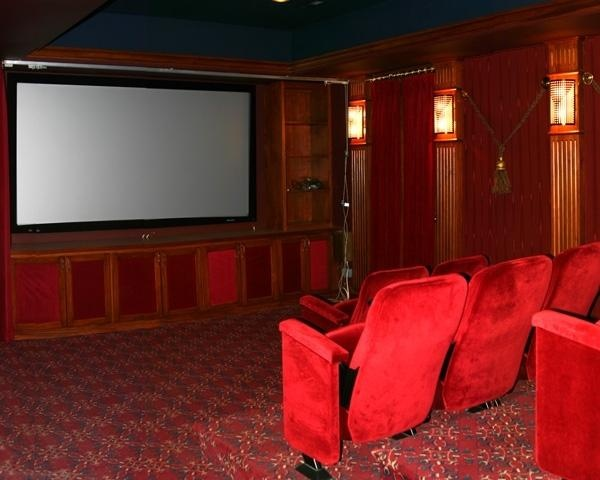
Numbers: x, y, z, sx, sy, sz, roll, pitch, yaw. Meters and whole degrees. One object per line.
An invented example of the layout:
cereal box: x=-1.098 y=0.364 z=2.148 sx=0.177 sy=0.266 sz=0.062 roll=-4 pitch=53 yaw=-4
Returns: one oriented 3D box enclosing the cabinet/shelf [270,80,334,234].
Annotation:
cabinet/shelf: x=0.044 y=-1.081 z=6.689 sx=0.748 sy=1.908 sz=0.484 roll=-4 pitch=11 yaw=-11
